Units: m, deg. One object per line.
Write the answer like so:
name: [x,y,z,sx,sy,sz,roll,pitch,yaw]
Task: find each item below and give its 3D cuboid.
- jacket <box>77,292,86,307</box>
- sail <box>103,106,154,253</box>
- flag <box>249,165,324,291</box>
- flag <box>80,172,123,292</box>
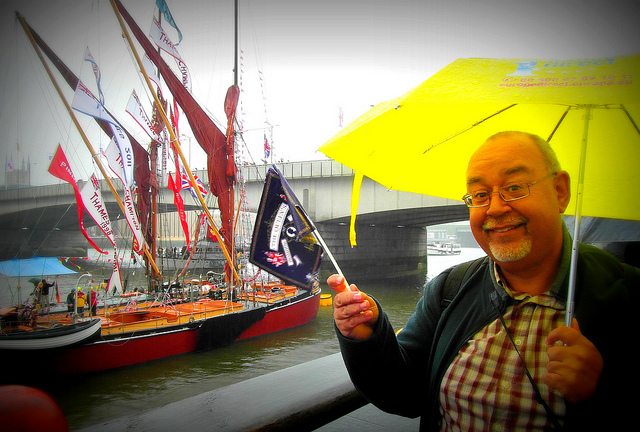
jacket: [-8.056,2.887,15.922,0.179,0.469,0.481,1,-1,-29]
sail: [-8.997,-1.364,22.552,1.145,8.764,3.067,-3,3,-12]
flag: [-0.215,-0.039,3.975,0.543,1.249,0.551,9,-5,-8]
flag: [-7.814,0.195,16.592,1.390,4.579,1.222,-2,12,-14]
